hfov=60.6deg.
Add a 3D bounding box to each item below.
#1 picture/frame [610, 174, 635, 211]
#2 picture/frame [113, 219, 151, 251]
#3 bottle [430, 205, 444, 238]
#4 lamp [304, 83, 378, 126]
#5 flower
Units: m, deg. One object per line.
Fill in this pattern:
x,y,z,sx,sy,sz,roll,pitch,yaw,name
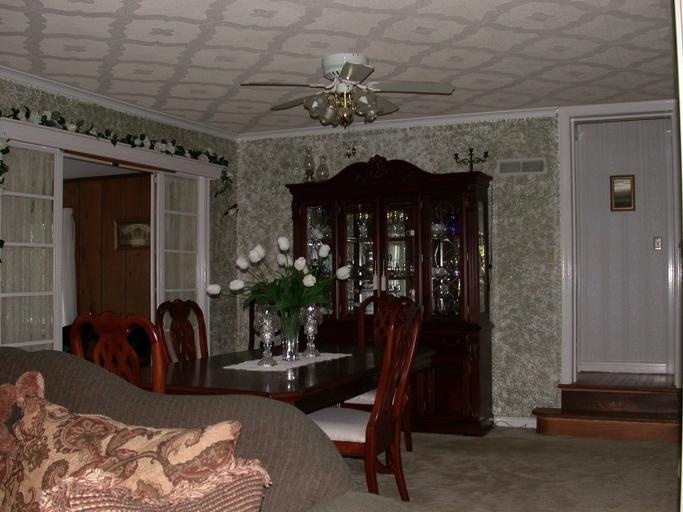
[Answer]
3.160,-0.701,6.558,0.245,0.392,0.039,-1,0,19,picture/frame
-2.600,-0.268,7.275,0.385,0.280,0.018,0,0,20,picture/frame
0.917,-0.334,5.521,0.110,0.250,0.175,4,-1,13,bottle
-0.001,-0.935,3.737,0.301,0.154,0.309,1,-8,-8,lamp
-0.278,0.181,4.137,0.962,0.701,0.952,-2,2,-34,flower
